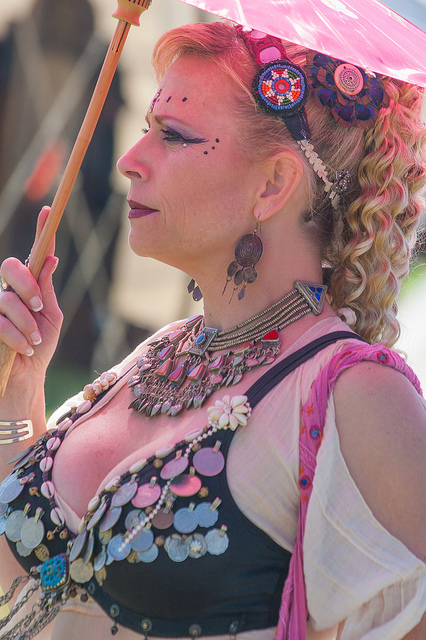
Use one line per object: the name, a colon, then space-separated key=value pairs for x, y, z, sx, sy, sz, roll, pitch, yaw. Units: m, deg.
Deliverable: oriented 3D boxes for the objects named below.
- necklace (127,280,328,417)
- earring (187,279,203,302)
necklace: x=-0.010 y=0.075 z=2.551 sx=0.727 sy=0.072 sz=0.401 roll=-9 pitch=44 yaw=55
earring: x=-0.050 y=-0.076 z=2.683 sx=0.008 sy=0.045 sz=0.075 roll=14 pitch=14 yaw=-22
